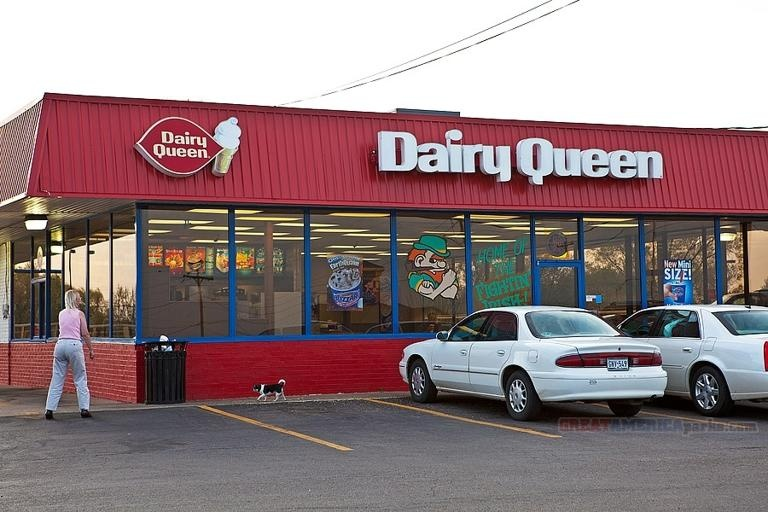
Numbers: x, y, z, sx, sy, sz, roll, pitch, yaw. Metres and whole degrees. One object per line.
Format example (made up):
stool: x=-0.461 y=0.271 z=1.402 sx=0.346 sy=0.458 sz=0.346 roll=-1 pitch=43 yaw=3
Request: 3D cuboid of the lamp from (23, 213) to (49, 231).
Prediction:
lamp: x=-8.729 y=-0.856 z=18.750 sx=0.578 sy=0.282 sz=0.567 roll=-1 pitch=-14 yaw=-8

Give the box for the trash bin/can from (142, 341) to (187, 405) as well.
trash bin/can: x=-4.914 y=2.672 z=16.983 sx=1.280 sy=1.513 sz=1.247 roll=0 pitch=-5 yaw=-9

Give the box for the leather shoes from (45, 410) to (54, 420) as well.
leather shoes: x=-6.508 y=3.091 z=14.447 sx=0.121 sy=0.138 sz=0.357 roll=1 pitch=-1 yaw=-17

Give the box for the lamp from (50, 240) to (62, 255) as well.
lamp: x=-9.173 y=-0.239 z=20.839 sx=0.405 sy=0.412 sz=0.295 roll=1 pitch=5 yaw=29

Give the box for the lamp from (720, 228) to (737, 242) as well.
lamp: x=9.894 y=-0.580 z=21.395 sx=0.568 sy=0.317 sz=0.117 roll=-7 pitch=9 yaw=-21

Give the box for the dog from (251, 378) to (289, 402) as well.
dog: x=-2.589 y=3.057 z=16.782 sx=1.120 sy=0.630 sz=0.335 roll=0 pitch=-6 yaw=21

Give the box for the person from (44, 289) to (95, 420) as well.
person: x=-6.335 y=2.021 z=14.872 sx=0.975 sy=2.540 sz=1.372 roll=-7 pitch=9 yaw=-16

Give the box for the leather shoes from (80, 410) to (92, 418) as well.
leather shoes: x=-5.802 y=3.094 z=14.626 sx=0.127 sy=0.128 sz=0.313 roll=0 pitch=0 yaw=29
